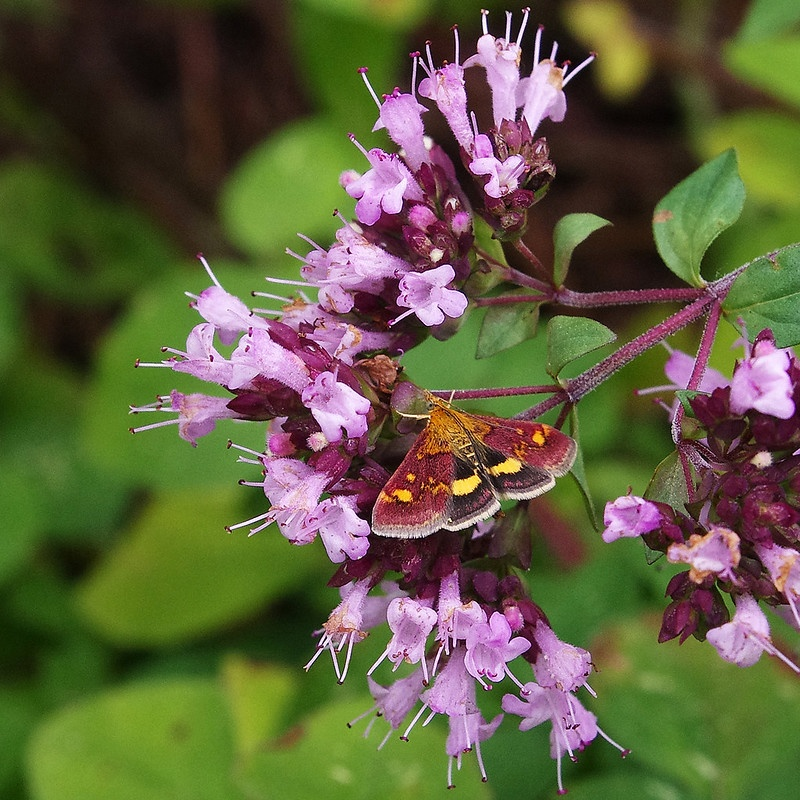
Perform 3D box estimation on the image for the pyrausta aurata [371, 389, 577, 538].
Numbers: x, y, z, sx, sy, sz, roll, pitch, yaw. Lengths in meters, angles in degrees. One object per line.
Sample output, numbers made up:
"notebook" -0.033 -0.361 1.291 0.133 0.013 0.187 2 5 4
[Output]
"pyrausta aurata" 0.206 0.149 2.485 0.494 0.278 0.416 2 80 5
